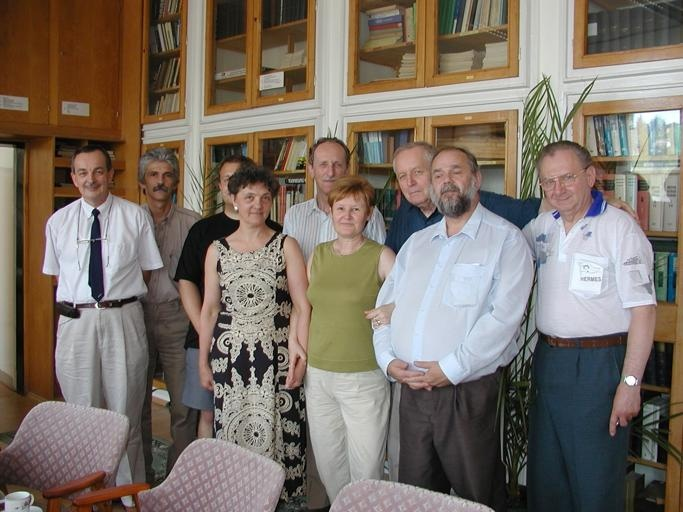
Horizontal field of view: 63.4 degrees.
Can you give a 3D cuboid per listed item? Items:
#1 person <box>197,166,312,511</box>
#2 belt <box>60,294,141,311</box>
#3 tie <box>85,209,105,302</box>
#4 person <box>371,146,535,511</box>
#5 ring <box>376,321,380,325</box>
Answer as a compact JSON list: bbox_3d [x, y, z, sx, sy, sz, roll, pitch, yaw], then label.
[{"bbox_3d":[-0.648,0.422,3.483,0.798,1.989,0.580,7,23,-10],"label":"person"},{"bbox_3d":[-1.541,0.311,3.453,0.481,0.111,0.176,0,5,-10],"label":"belt"},{"bbox_3d":[-1.505,-0.008,3.402,0.088,0.556,0.134,-1,4,-26],"label":"tie"},{"bbox_3d":[0.519,0.351,2.643,0.732,1.746,0.387,2,4,21],"label":"person"},{"bbox_3d":[0.180,0.323,2.708,0.020,0.023,0.005,0,0,21],"label":"ring"}]
